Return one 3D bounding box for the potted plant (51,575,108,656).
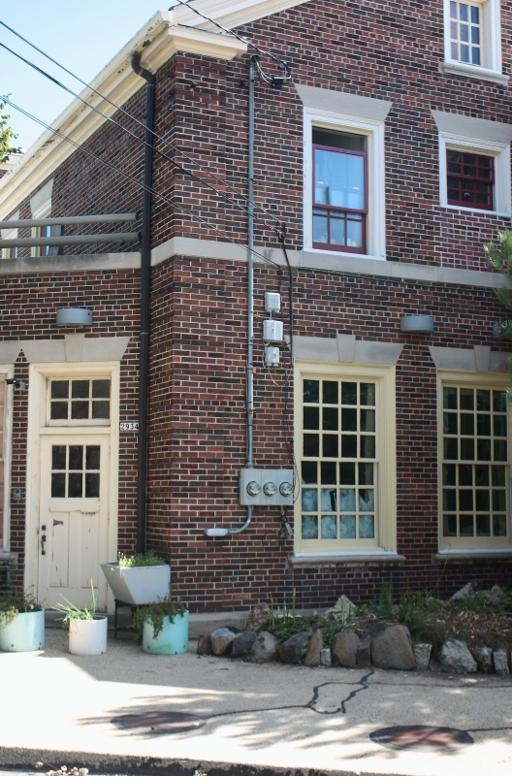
[{"bbox_3d":[-1.679,2.202,8.572,0.476,0.585,0.300,3,0,-20],"label":"potted plant"}]

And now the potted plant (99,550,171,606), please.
[{"bbox_3d":[-1.256,1.960,9.272,0.486,0.440,0.610,-5,-3,-32],"label":"potted plant"}]

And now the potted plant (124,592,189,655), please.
[{"bbox_3d":[-0.954,2.266,8.734,0.438,0.523,0.410,-6,-9,40],"label":"potted plant"}]
